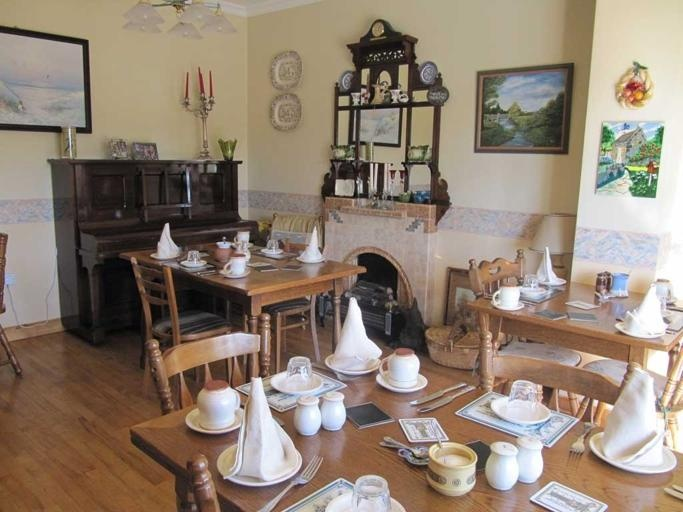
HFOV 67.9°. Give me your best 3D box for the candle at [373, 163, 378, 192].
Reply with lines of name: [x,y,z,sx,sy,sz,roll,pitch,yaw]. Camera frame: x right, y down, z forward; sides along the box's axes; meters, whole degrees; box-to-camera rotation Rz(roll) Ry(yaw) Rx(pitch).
candle: [0.330,-0.760,4.957,0.040,0.263,0.058,0,12,3]

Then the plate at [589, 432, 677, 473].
plate: [0.982,0.675,1.709,0.269,0.046,0.162,4,12,24]

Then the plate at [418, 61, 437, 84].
plate: [0.770,-1.628,4.529,0.167,0.199,0.067,1,13,10]

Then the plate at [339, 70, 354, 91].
plate: [0.051,-1.738,5.058,0.189,0.187,0.044,2,5,41]

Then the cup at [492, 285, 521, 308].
cup: [0.973,0.239,3.017,0.164,0.111,0.101,-12,18,-38]

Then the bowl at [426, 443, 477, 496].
bowl: [0.349,0.679,1.611,0.147,0.111,0.150,0,11,0]

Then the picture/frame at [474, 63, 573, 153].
picture/frame: [1.525,-1.226,4.168,0.768,0.715,0.051,10,15,35]

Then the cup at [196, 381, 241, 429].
cup: [-0.438,0.543,1.875,0.131,0.146,0.171,2,-2,21]

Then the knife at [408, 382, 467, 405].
knife: [0.388,0.562,2.057,0.339,0.018,0.079,-12,20,-42]

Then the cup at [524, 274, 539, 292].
cup: [1.228,0.182,3.298,0.104,0.109,0.099,-1,3,0]

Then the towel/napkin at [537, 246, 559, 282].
towel/napkin: [1.414,0.100,3.550,0.118,0.130,0.121,-8,14,12]

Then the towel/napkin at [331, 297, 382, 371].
towel/napkin: [0.067,0.360,2.370,0.266,0.309,0.261,10,13,42]

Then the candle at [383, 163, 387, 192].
candle: [0.431,-0.748,4.914,0.055,0.286,0.064,-1,12,-1]

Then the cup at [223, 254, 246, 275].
cup: [-0.725,0.058,3.547,0.108,0.114,0.162,11,18,29]

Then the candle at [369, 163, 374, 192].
candle: [0.298,-0.761,4.978,0.055,0.282,0.086,-1,12,0]

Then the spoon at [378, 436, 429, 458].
spoon: [0.209,0.657,1.739,0.052,0.025,0.152,-10,12,-38]

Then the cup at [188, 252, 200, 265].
cup: [-1.081,0.018,3.770,0.084,0.086,0.084,1,10,0]

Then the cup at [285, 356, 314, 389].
cup: [-0.171,0.480,2.120,0.116,0.109,0.115,1,12,0]

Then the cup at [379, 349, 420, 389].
cup: [0.248,0.468,2.147,0.163,0.135,0.127,3,7,31]

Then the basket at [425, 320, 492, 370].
basket: [0.939,0.779,4.355,0.389,0.165,0.449,-1,13,-9]

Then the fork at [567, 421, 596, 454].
fork: [0.850,0.649,1.794,0.047,0.039,0.337,9,6,28]

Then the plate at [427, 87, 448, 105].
plate: [0.844,-1.410,4.470,0.171,0.165,0.051,-2,12,-3]

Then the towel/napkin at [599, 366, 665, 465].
towel/napkin: [1.023,0.525,1.727,0.211,0.348,0.155,-14,15,-6]

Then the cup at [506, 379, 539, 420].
cup: [0.681,0.544,1.918,0.125,0.155,0.126,2,-4,0]

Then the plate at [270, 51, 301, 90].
plate: [-0.616,-2.075,5.706,0.446,0.425,0.063,8,15,36]

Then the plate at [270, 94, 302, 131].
plate: [-0.628,-1.629,5.769,0.433,0.410,0.096,9,16,40]
